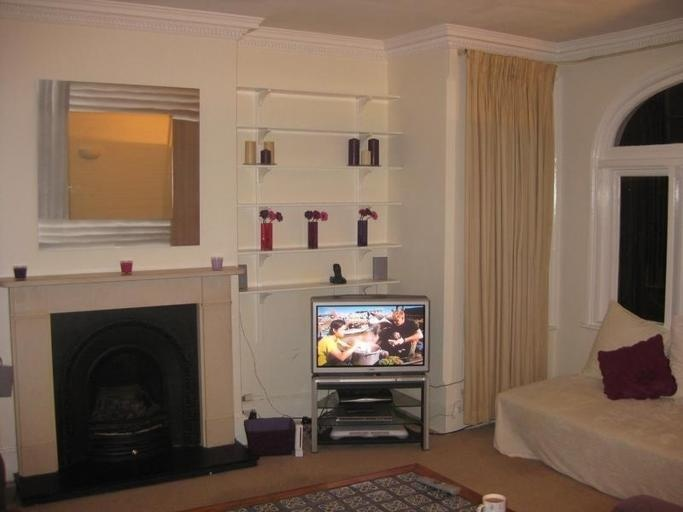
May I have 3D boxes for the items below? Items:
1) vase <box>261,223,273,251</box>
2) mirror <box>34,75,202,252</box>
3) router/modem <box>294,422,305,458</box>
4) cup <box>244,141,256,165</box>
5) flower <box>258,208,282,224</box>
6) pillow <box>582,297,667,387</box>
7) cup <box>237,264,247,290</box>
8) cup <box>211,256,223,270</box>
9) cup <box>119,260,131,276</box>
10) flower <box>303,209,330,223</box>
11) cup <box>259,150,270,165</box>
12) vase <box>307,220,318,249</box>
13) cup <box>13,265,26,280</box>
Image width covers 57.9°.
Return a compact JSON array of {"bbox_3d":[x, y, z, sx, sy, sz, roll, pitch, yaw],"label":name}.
[{"bbox_3d":[-0.619,-0.176,5.146,0.108,0.229,0.233,-1,9,-7],"label":"vase"},{"bbox_3d":[-1.672,-0.693,4.480,1.243,1.296,0.085,-2,7,-22],"label":"mirror"},{"bbox_3d":[-0.332,1.466,4.879,0.086,0.279,0.244,1,-1,-5],"label":"router/modem"},{"bbox_3d":[-0.728,-0.832,4.972,0.084,0.181,0.074,-1,9,-11],"label":"cup"},{"bbox_3d":[-0.578,-0.326,5.110,0.134,0.056,0.138,1,-7,7],"label":"flower"},{"bbox_3d":[2.341,0.717,5.084,0.185,0.593,0.608,19,7,-36],"label":"pillow"},{"bbox_3d":[-0.798,0.172,4.970,0.100,0.182,0.184,-2,7,-21],"label":"cup"},{"bbox_3d":[-0.944,0.057,4.706,0.089,0.101,0.093,1,0,0],"label":"cup"},{"bbox_3d":[-1.530,0.090,4.401,0.093,0.104,0.092,1,1,0],"label":"cup"},{"bbox_3d":[-0.200,-0.334,5.314,0.134,0.184,0.126,0,-2,13],"label":"flower"},{"bbox_3d":[-0.604,-0.815,5.015,0.082,0.134,0.085,0,9,0],"label":"cup"},{"bbox_3d":[-0.237,-0.197,5.331,0.101,0.241,0.259,0,9,-3],"label":"vase"},{"bbox_3d":[-2.187,0.109,4.192,0.087,0.100,0.088,2,0,0],"label":"cup"}]
